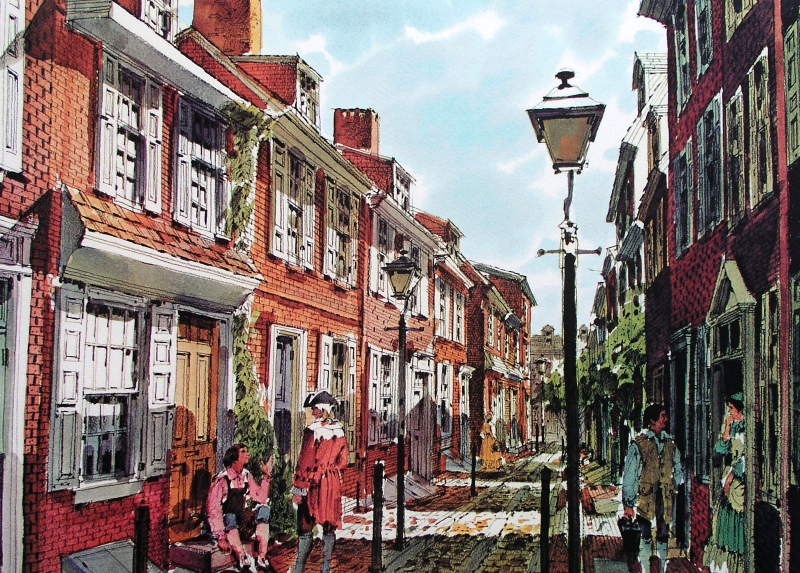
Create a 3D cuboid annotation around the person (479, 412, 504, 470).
[{"bbox_3d":[2.589,4.502,27.502,0.648,1.703,2.003,2,-10,5],"label":"person"}]
